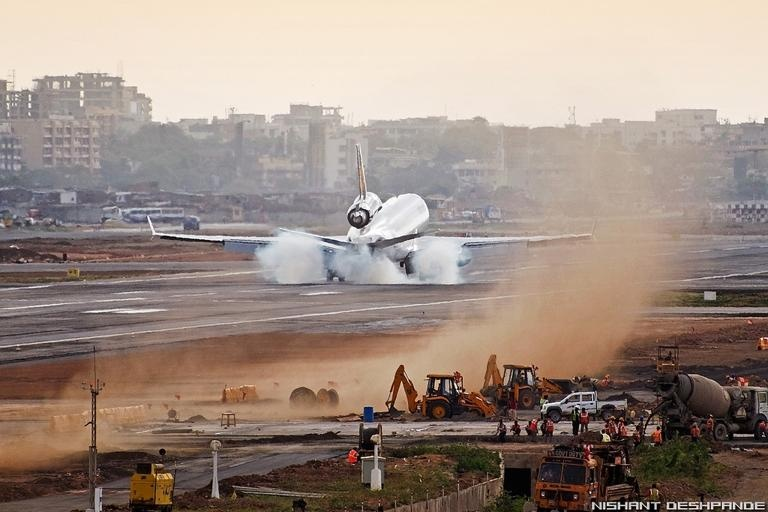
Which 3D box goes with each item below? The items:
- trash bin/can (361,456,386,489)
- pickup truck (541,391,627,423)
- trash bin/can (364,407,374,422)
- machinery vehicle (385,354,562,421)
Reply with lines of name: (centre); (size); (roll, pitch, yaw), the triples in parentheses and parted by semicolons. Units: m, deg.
trash bin/can: (-1.037, 12.329, 88.043); (1.416, 1.539, 1.844); (-10, -13, 42)
pickup truck: (13.285, 9.820, 99.963); (5.528, 1.615, 2.133); (1, -1, 5)
trash bin/can: (-0.906, 9.907, 96.174); (1.045, 0.934, 0.945); (0, 0, 4)
machinery vehicle: (6.042, 8.591, 101.724); (11.367, 3.813, 4.948); (0, 4, -21)
